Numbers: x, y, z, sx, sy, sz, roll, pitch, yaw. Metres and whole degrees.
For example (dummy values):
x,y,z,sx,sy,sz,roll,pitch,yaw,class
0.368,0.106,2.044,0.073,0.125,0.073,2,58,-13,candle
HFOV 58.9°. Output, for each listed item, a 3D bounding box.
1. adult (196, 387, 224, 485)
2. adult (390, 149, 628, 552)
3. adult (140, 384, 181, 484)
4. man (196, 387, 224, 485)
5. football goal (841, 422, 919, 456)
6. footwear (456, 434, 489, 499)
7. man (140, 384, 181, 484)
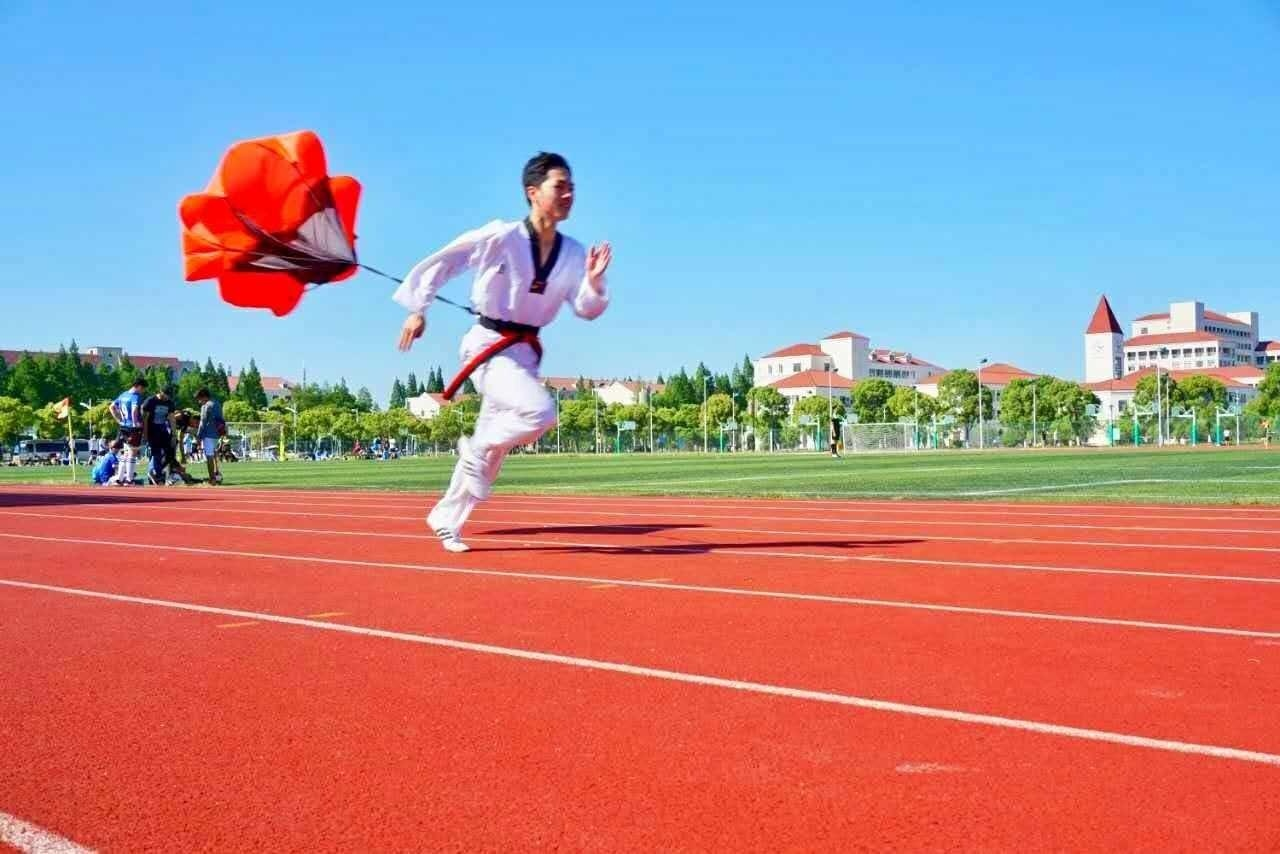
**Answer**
x,y,z,sx,sy,sz,roll,pitch,yaw,class
-8.122,0.152,21.103,0.820,1.771,0.686,-1,-3,-9,adult
-0.954,-0.500,7.982,1.442,2.793,0.570,-3,6,-11,adult
-8.516,0.226,20.067,0.522,1.715,1.230,-4,6,-22,adult
-8.082,0.148,21.127,0.759,1.780,0.655,-1,-4,-7,man
15.364,0.642,72.575,4.519,1.846,1.936,0,6,9,football goal
-1.220,0.294,8.172,0.292,0.397,0.163,-8,6,-13,footwear
-8.519,0.226,20.073,0.522,1.715,1.217,-4,6,-22,man
